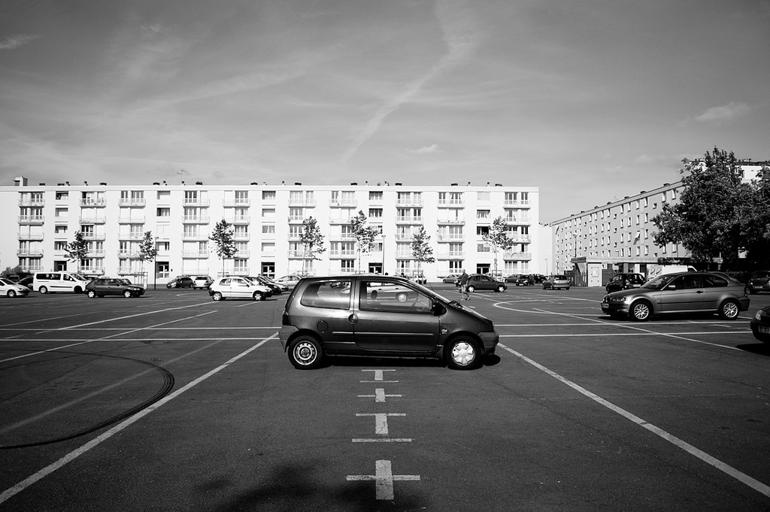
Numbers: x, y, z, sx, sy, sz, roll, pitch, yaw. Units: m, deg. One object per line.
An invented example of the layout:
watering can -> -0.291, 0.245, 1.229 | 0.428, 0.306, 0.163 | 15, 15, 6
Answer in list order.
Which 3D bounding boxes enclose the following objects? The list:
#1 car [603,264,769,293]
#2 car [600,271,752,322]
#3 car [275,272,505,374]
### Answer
car -> 18.068, 1.246, 33.749 | 5.179, 1.713, 2.416 | -1, -4, 6
car -> 10.006, 1.398, 20.018 | 4.370, 1.525, 1.971 | 1, -7, 2
car -> -0.024, 1.328, 12.114 | 3.841, 1.668, 2.010 | -1, -3, 0
